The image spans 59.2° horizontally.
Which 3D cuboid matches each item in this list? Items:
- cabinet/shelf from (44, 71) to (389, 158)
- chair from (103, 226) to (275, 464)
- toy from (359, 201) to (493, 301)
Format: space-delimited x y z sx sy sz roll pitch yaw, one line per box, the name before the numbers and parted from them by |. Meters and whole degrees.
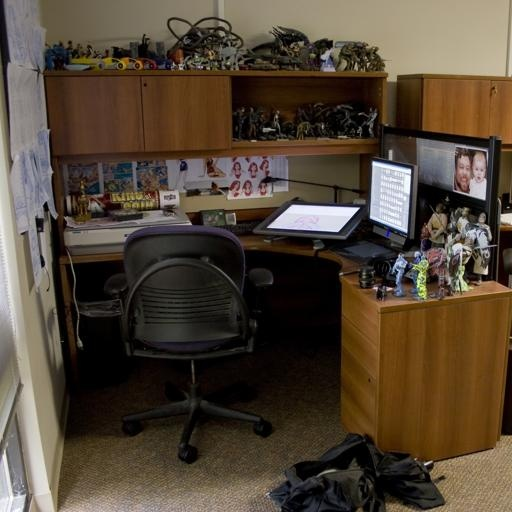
cabinet/shelf | -0.234 -0.808 2.578 1.757 0.462 0.324 -5 14 -15
chair | -0.261 0.330 2.014 0.673 0.886 0.701 -2 2 24
toy | 0.687 -0.066 1.810 0.416 0.273 0.336 -15 18 -17
